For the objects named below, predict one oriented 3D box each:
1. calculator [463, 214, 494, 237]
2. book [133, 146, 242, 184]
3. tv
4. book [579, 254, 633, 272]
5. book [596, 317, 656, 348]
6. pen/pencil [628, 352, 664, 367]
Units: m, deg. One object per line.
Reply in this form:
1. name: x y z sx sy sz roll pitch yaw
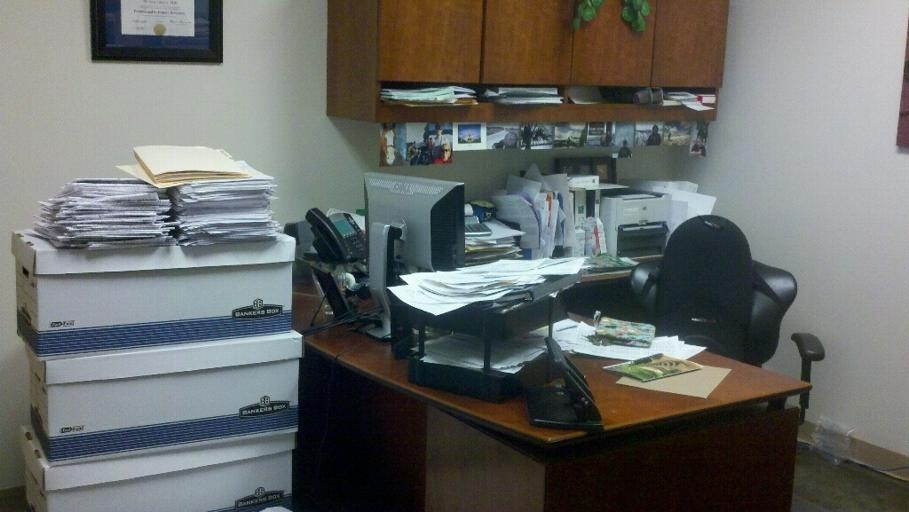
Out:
1. calculator: 0.132 -0.181 4.013 0.151 0.101 0.243 -3 14 -1
2. book: -1.271 -0.452 3.213 0.413 0.142 0.532 -10 16 -27
3. tv: -0.192 0.013 3.157 0.748 0.758 0.308 13 24 36
4. book: 0.959 0.047 4.305 0.302 0.070 0.199 6 16 -27
5. book: 0.847 0.384 3.373 0.193 0.045 0.178 7 13 19
6. pen/pencil: 0.891 0.486 3.169 0.125 0.022 0.027 -11 45 -25
